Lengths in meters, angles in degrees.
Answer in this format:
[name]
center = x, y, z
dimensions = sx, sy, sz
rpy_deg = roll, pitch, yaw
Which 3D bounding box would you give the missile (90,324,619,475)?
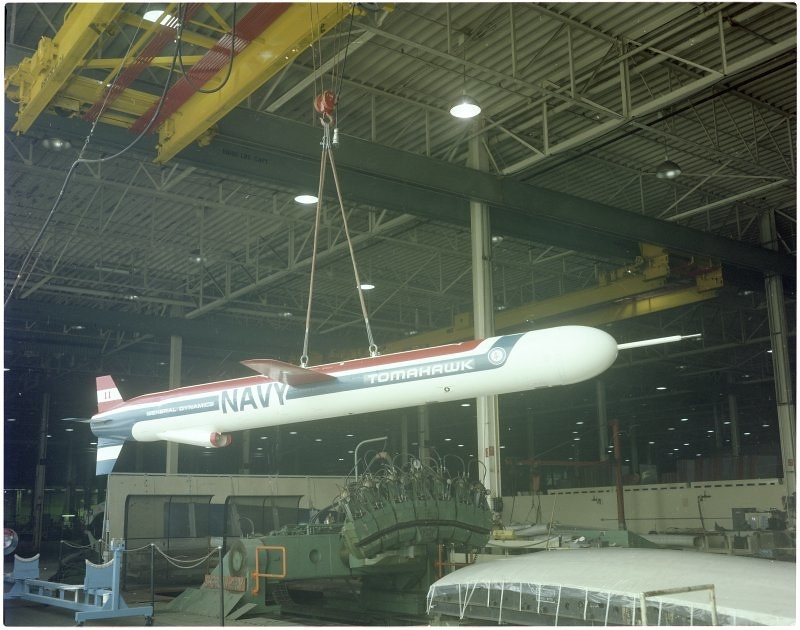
[missile]
center = -1.138, 1.311, 17.424
dimensions = 7.400, 1.645, 3.783
rpy_deg = -7, 0, 20
